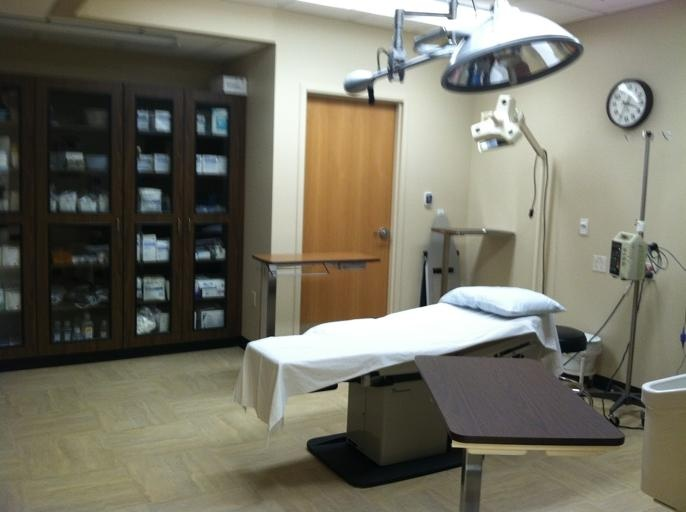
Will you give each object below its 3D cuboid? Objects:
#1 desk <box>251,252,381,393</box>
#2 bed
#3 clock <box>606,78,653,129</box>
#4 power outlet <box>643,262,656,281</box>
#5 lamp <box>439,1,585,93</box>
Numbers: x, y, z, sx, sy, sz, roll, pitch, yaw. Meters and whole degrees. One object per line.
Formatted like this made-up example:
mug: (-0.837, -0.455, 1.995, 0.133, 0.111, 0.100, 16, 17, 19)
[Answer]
desk: (-0.149, 0.517, 5.031, 1.262, 1.295, 0.907, -1, 3, -21)
bed: (0.358, 0.733, 3.996, 2.019, 1.144, 1.001, -2, 5, -24)
clock: (2.193, -1.158, 4.478, 0.095, 0.398, 0.348, -4, -9, -37)
power outlet: (2.287, 0.122, 4.402, 0.092, 0.138, 0.043, 7, 0, 33)
lamp: (0.731, -0.913, 2.568, 0.583, 0.380, 0.343, 4, 13, 10)
